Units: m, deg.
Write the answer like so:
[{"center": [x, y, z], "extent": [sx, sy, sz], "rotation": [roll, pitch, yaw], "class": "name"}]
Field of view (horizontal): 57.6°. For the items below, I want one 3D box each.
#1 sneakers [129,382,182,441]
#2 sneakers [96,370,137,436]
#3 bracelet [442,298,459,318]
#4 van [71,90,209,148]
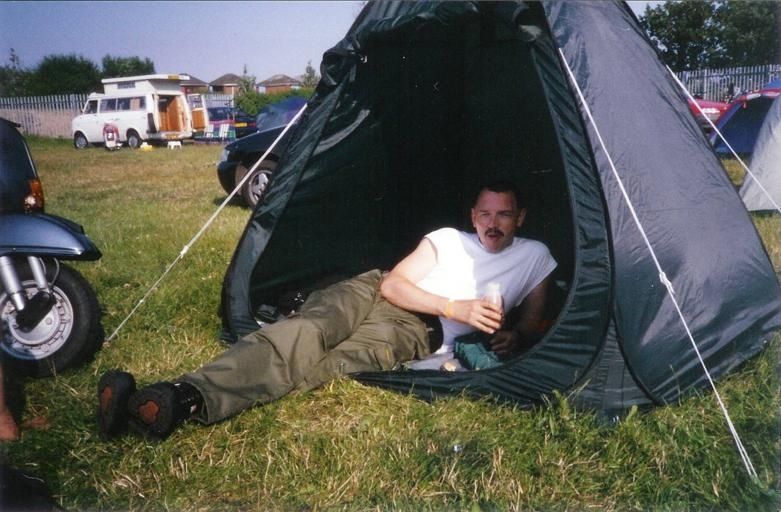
[{"center": [-1.539, 1.026, 4.640], "extent": [0.285, 0.274, 0.247], "rotation": [20, 24, 28], "class": "sneakers"}, {"center": [-1.810, 0.994, 4.684], "extent": [0.263, 0.482, 0.145], "rotation": [-3, 17, -9], "class": "sneakers"}, {"center": [0.449, 0.395, 5.256], "extent": [0.048, 0.130, 0.128], "rotation": [8, -3, -42], "class": "bracelet"}, {"center": [-7.630, -4.080, 20.919], "extent": [3.012, 1.606, 2.090], "rotation": [6, 14, 25], "class": "van"}]
